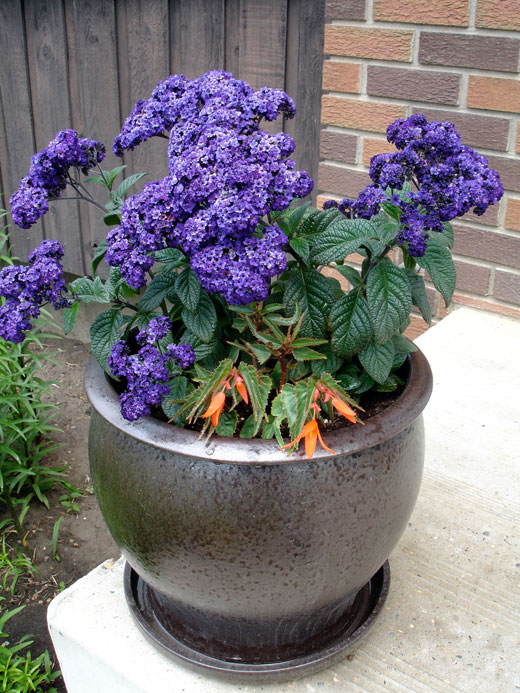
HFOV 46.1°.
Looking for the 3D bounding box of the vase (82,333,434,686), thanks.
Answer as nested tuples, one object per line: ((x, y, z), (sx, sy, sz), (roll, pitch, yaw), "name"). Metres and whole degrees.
((-0.006, 0.273, 0.980), (0.445, 0.298, 0.450), (7, 6, 39), "vase")
